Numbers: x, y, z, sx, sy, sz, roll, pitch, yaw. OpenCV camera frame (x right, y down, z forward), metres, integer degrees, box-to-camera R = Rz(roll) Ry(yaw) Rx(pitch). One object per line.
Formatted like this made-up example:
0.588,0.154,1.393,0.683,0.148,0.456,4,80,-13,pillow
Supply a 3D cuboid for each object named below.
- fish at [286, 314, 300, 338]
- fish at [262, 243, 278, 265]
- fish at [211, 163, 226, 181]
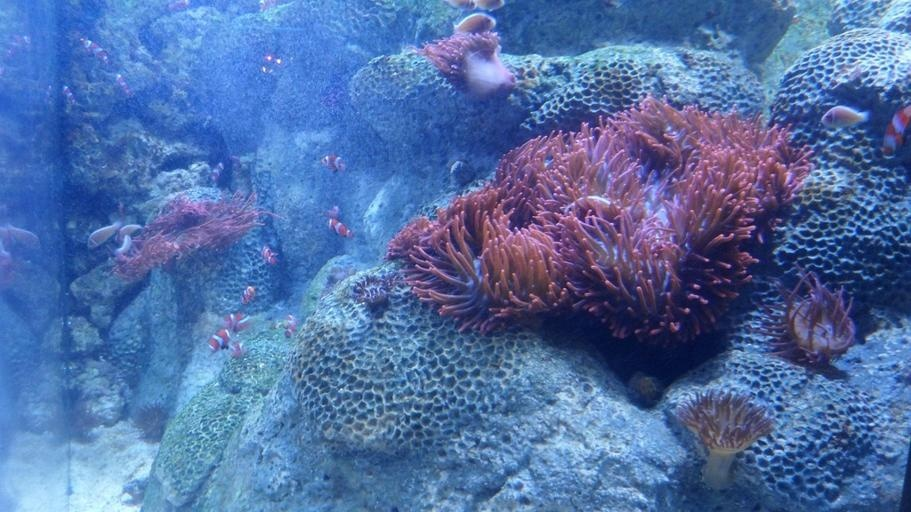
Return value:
-3.222,1.380,17.883,0.366,0.180,0.272,-56,33,7,fish
-3.778,-0.027,18.332,0.548,0.345,0.162,42,115,54,fish
-5.048,-1.753,19.252,0.169,0.143,0.475,-9,47,29,fish
